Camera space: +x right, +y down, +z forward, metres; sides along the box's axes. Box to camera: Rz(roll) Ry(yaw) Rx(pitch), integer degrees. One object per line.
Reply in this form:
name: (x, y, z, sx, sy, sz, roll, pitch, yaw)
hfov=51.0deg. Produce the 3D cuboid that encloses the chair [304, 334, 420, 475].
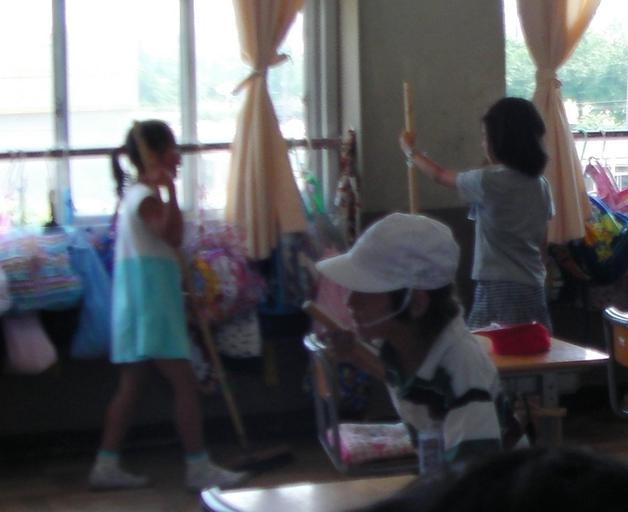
chair: (0.166, 0.384, 1.957, 0.354, 0.394, 0.359, -7, 7, 13)

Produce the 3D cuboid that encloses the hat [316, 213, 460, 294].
hat: (0.193, -0.028, 1.686, 0.374, 0.181, 0.239, 4, 21, -10)

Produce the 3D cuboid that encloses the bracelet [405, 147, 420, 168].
bracelet: (0.439, -0.445, 2.923, 0.050, 0.068, 0.055, 8, 24, 21)

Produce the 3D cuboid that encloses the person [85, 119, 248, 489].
person: (-0.593, 0.195, 2.464, 0.546, 1.397, 0.282, -1, 9, 14)
